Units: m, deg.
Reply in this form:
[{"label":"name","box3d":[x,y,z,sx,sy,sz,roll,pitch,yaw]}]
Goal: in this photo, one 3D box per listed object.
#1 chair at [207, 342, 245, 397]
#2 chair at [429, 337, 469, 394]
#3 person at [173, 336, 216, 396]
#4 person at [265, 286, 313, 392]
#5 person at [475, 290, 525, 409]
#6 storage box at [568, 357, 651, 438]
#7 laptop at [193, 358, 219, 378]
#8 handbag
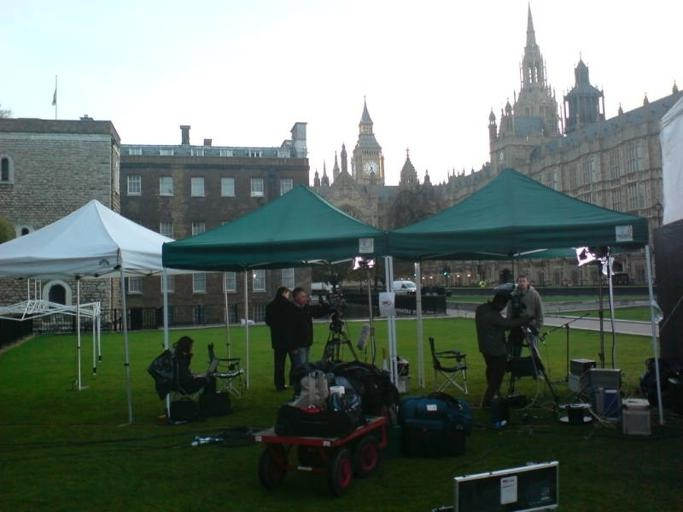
[{"label":"chair","box3d":[-2.983,2.985,26.263,0.770,1.090,0.797,11,-2,1]},{"label":"chair","box3d":[2.751,2.820,25.609,1.204,1.408,1.163,-2,1,-45]},{"label":"person","box3d":[-3.584,2.682,24.236,1.035,1.393,0.597,0,-5,-20]},{"label":"person","box3d":[-1.353,2.163,26.008,1.182,2.752,1.162,-1,-5,-5]},{"label":"person","box3d":[3.753,2.287,24.109,0.925,2.756,0.647,-3,-5,17]},{"label":"storage box","box3d":[6.388,3.338,23.758,1.078,1.657,2.773,-1,-5,-5]},{"label":"laptop","box3d":[-3.324,2.769,24.429,0.529,0.527,0.347,4,-7,-14]},{"label":"handbag","box3d":[2.001,3.768,22.251,1.336,0.984,1.359,0,-11,0]}]
